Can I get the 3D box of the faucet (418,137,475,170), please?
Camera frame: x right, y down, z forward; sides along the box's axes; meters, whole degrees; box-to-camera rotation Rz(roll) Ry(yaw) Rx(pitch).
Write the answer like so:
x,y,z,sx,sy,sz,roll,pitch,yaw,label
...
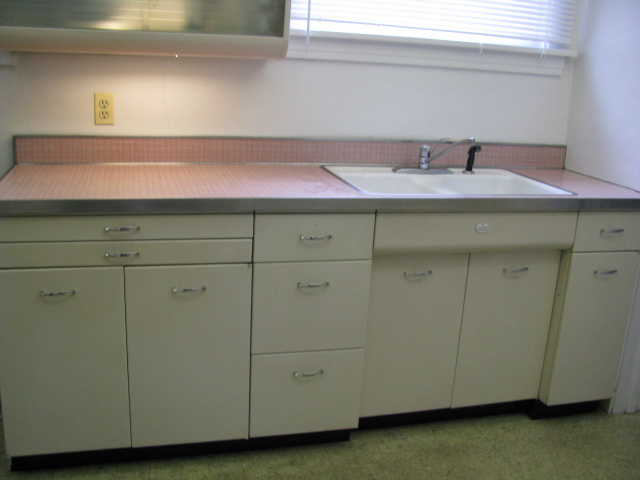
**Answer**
x,y,z,sx,sy,sz,roll,pitch,yaw,label
0.638,-0.453,2.541,0.270,0.181,0.341,8,23,17,faucet
